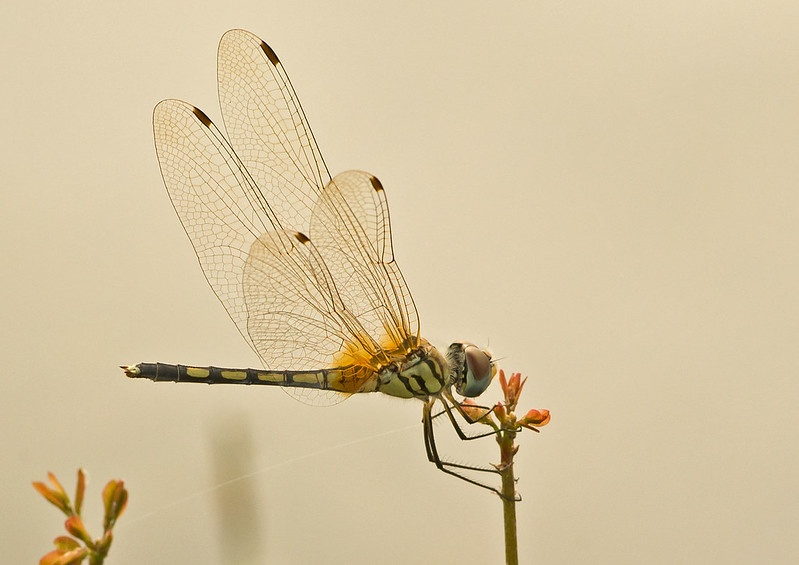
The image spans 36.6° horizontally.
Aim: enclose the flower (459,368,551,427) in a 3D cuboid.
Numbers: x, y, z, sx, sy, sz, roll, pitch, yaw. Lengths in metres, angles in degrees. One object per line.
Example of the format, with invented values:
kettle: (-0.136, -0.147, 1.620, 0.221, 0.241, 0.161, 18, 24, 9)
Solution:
flower: (0.204, 0.182, 2.079, 0.109, 0.112, 0.066, 0, -92, 36)
